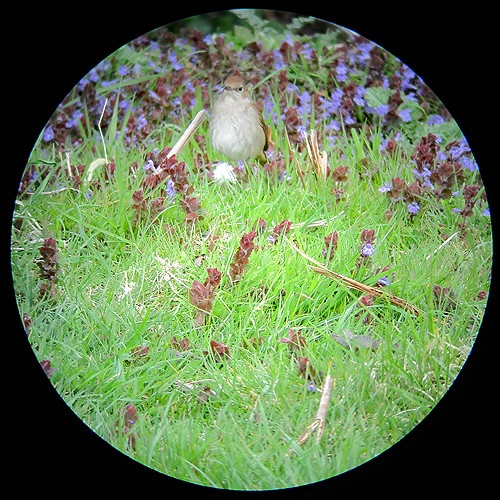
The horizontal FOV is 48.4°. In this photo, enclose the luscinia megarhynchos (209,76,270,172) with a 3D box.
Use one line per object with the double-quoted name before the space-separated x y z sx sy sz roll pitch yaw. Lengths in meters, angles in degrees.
"luscinia megarhynchos" -0.014 -0.341 1.470 0.139 0.257 0.239 9 27 21
